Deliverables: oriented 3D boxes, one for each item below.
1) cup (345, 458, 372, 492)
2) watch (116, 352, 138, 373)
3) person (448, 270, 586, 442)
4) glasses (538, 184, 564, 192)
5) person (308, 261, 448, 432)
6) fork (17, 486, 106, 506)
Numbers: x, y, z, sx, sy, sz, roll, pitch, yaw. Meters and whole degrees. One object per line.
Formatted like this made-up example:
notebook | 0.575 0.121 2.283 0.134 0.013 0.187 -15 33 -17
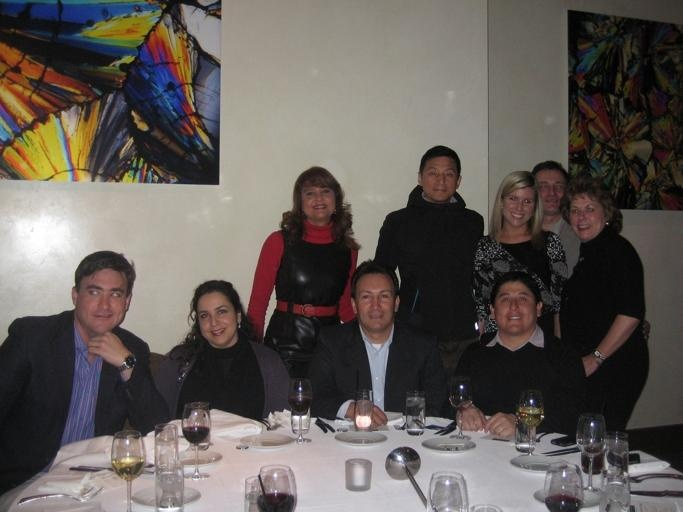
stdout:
cup | 0.061 0.762 1.996 0.098 0.107 0.098 1 -4 0
watch | -1.119 0.561 2.946 0.091 0.086 0.048 0 7 7
person | 0.972 0.523 2.976 0.647 0.918 0.536 -4 -12 34
glasses | 1.474 -0.476 3.909 0.131 0.037 0.128 0 -10 13
person | 0.201 0.528 3.204 0.821 1.313 0.758 -1 -12 2
fork | -0.935 0.808 1.893 0.298 0.055 0.053 0 5 -9
